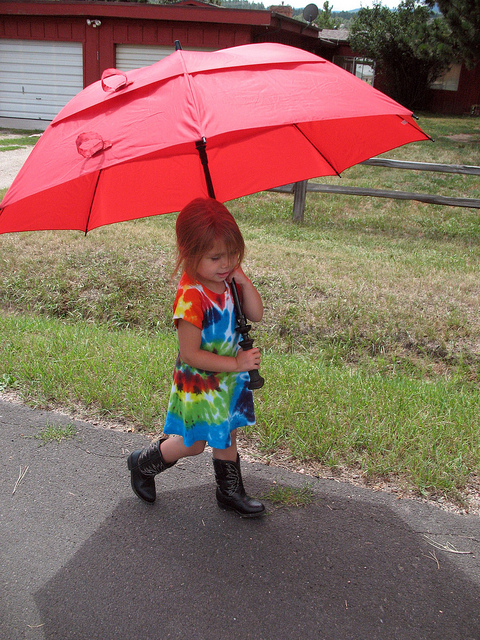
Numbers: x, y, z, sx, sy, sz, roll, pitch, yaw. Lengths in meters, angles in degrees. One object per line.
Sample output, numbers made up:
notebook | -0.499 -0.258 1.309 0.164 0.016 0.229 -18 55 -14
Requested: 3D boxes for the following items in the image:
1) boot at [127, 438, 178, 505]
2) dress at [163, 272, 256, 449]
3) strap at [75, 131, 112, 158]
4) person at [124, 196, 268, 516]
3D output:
boot | -0.389 0.644 2.171 0.216 0.301 0.089 10 19 25
dress | -0.108 0.163 1.896 0.365 0.692 0.217 -1 17 -7
strap | -0.441 -0.523 1.511 0.082 0.048 0.108 3 4 17
person | -0.189 0.199 1.973 0.607 1.262 0.365 0 16 4
